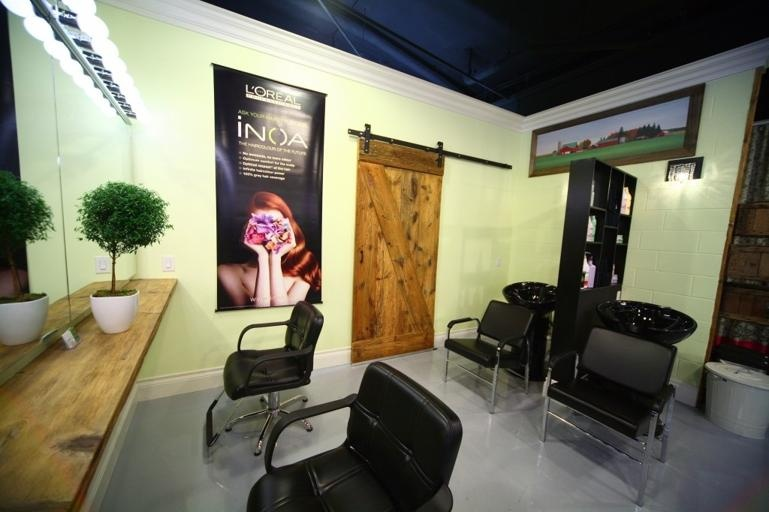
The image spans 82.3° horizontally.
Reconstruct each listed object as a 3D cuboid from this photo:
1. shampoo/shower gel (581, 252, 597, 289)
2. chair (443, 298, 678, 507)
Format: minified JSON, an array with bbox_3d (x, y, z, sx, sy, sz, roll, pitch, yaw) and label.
[{"bbox_3d":[2.224,0.161,4.762,0.112,0.381,0.415,5,6,28],"label":"shampoo/shower gel"},{"bbox_3d":[2.090,1.391,4.152,1.048,1.344,0.713,6,7,34],"label":"chair"}]
